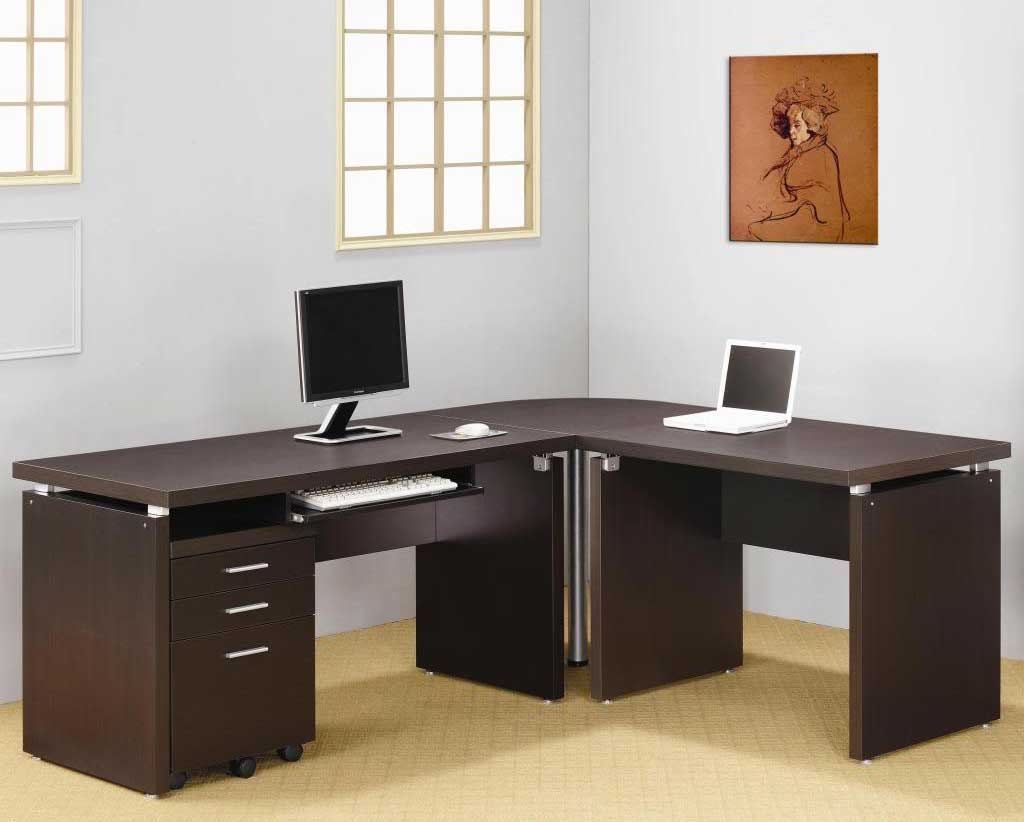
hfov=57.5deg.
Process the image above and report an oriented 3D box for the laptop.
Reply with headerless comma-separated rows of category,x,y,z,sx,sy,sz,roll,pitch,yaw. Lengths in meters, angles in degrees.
laptop,0.803,-0.133,3.338,0.378,0.310,0.365,-6,8,-43
